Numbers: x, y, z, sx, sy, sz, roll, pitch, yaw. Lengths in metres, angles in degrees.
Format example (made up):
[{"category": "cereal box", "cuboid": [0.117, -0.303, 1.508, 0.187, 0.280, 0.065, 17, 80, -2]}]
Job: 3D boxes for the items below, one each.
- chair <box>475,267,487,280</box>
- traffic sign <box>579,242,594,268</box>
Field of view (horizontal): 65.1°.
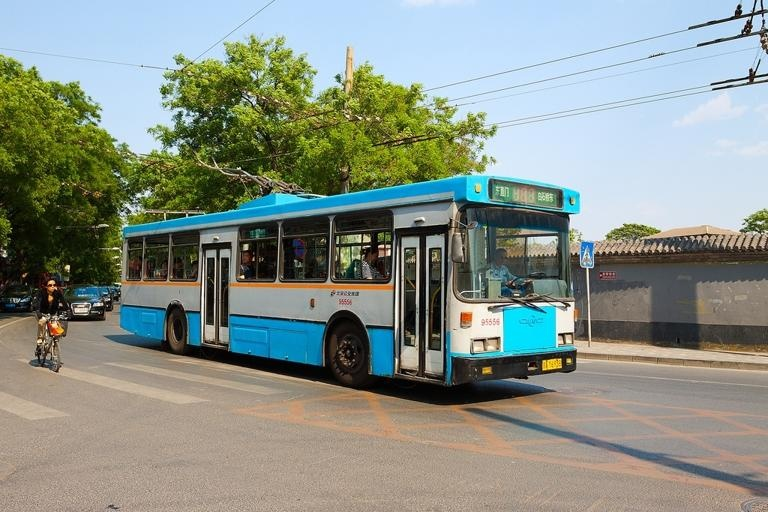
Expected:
[{"category": "chair", "cuboid": [1.773, 0.338, 10.911, 0.202, 0.216, 0.373, 0, -7, -3]}, {"category": "traffic sign", "cuboid": [6.918, -0.023, 20.294, 0.369, 0.886, 2.068, 1, 0, 23]}]
